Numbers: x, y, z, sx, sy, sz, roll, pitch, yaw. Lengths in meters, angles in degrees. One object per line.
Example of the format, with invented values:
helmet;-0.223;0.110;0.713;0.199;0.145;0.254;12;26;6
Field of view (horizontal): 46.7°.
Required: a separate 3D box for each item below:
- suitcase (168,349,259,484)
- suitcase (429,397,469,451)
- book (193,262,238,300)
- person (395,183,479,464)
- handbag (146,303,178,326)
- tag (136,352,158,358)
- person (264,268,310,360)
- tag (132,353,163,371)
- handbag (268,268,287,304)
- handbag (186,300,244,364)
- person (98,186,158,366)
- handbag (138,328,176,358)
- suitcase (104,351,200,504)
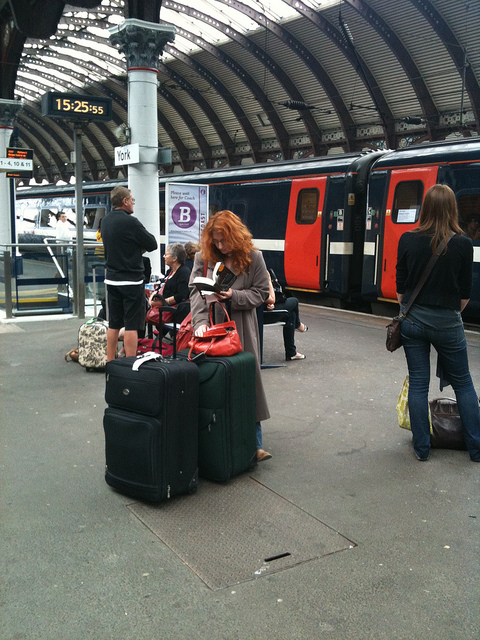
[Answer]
suitcase;-0.154;0.507;3.599;0.402;0.839;0.409;13;25;31
suitcase;1.608;0.742;4.223;0.329;0.461;0.224;-4;31;18
book;-0.139;-0.238;3.485;0.178;0.277;0.093;38;-38;-18
person;1.407;0.044;3.909;0.609;1.935;0.289;2;6;19
handbag;-0.991;-0.039;6.816;0.457;0.238;0.375;-2;-3;-28
tag;-0.540;0.205;3.273;0.100;0.032;0.065;-8;8;-25
person;0.565;-0.175;7.450;0.625;1.511;0.474;-7;9;6
tag;-0.526;0.239;3.252;0.077;0.072;0.306;4;7;29
handbag;0.542;-0.395;7.581;0.181;0.362;0.303;-12;1;-31
handbag;-0.176;0.064;3.494;0.318;0.408;0.201;-7;-14;27
person;-1.219;-0.454;5.939;0.452;1.929;0.425;12;19;28
handbag;-0.841;0.231;5.562;0.251;0.352;0.210;1;9;4
suitcase;-0.545;0.596;3.312;0.414;0.887;0.393;6;10;29
